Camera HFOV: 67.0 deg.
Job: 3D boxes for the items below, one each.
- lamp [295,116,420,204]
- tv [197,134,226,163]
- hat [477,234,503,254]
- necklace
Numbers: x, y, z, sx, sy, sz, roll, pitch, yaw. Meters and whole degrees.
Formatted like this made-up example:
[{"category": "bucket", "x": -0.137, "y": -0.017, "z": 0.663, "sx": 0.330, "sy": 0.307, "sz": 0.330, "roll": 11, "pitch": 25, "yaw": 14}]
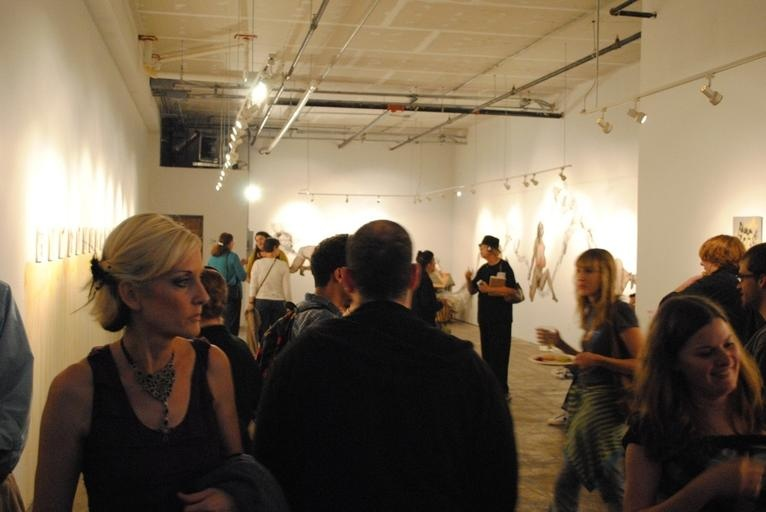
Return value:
[{"category": "lamp", "x": -0.580, "y": -2.492, "z": 16.246, "sx": 3.515, "sy": 2.068, "sz": 1.826, "roll": 3, "pitch": 29, "yaw": 10}, {"category": "tv", "x": -4.440, "y": -2.713, "z": 15.109, "sx": 0.676, "sy": 0.717, "sz": 1.244, "roll": -1, "pitch": -7, "yaw": -18}, {"category": "hat", "x": 1.475, "y": -0.173, "z": 7.972, "sx": 0.354, "sy": 0.195, "sz": 0.270, "roll": 24, "pitch": 3, "yaw": 3}, {"category": "necklace", "x": -0.910, "y": 0.512, "z": 2.321, "sx": 0.142, "sy": 0.413, "sz": 0.058, "roll": -10, "pitch": -16, "yaw": -21}]
